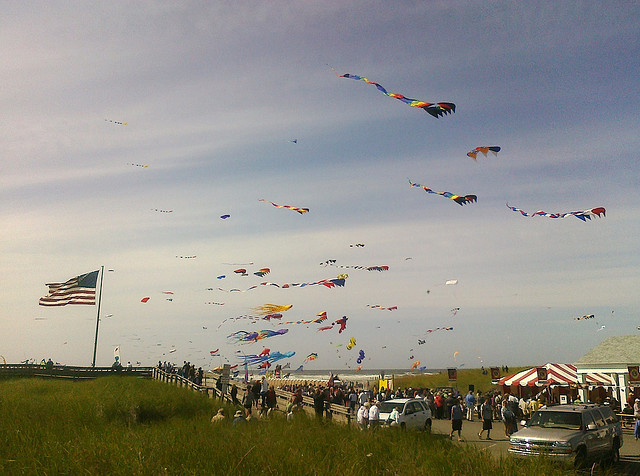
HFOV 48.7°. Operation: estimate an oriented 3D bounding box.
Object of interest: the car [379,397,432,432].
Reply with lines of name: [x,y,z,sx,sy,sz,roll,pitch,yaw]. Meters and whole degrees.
car: [3.728,8.600,34.267,1.966,1.676,3.590,-3,-9,38]
